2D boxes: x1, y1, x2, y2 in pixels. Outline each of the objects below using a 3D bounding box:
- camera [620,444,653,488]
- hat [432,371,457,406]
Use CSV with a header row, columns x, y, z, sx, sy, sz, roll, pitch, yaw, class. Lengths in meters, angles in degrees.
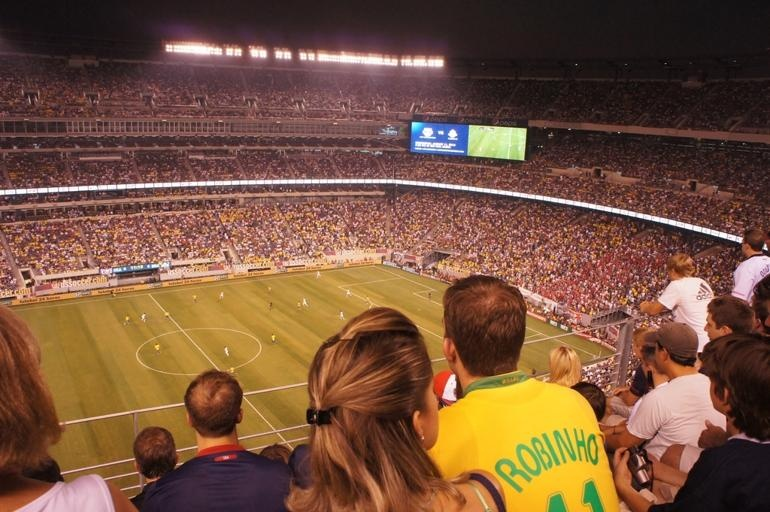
x,y,z,sx,sy,sz,roll,pitch,yaw,class
2.847,2.382,5.580,0.408,0.406,0.172,6,-20,-34,camera
0.824,1.846,7.041,0.309,0.637,0.399,-4,8,7,hat
